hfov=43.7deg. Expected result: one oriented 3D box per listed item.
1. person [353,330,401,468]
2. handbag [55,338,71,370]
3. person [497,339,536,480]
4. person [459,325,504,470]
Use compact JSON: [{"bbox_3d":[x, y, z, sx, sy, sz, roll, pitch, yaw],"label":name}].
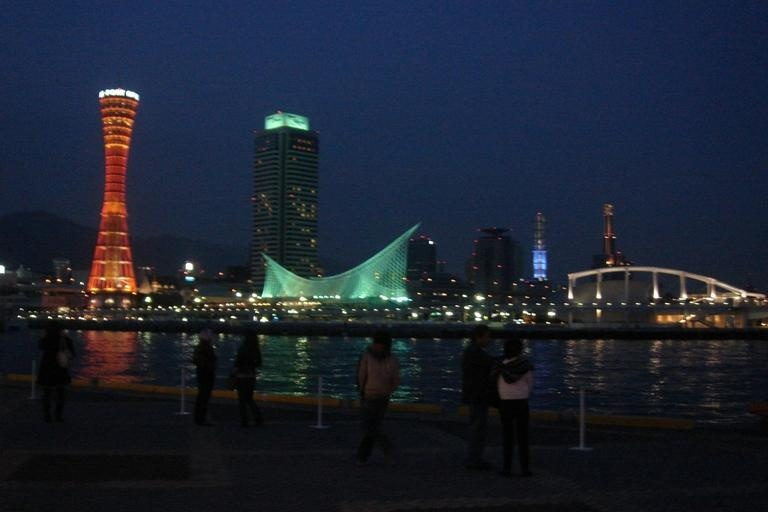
[{"bbox_3d":[-0.119,2.631,17.719,0.760,2.460,0.394,0,-3,-1],"label":"person"},{"bbox_3d":[-6.882,2.095,20.587,0.277,0.675,0.229,1,-3,-16],"label":"handbag"},{"bbox_3d":[2.368,2.736,17.263,0.642,2.469,0.837,-1,-3,8],"label":"person"},{"bbox_3d":[1.729,2.579,17.363,0.613,2.624,0.621,0,-3,3],"label":"person"}]
